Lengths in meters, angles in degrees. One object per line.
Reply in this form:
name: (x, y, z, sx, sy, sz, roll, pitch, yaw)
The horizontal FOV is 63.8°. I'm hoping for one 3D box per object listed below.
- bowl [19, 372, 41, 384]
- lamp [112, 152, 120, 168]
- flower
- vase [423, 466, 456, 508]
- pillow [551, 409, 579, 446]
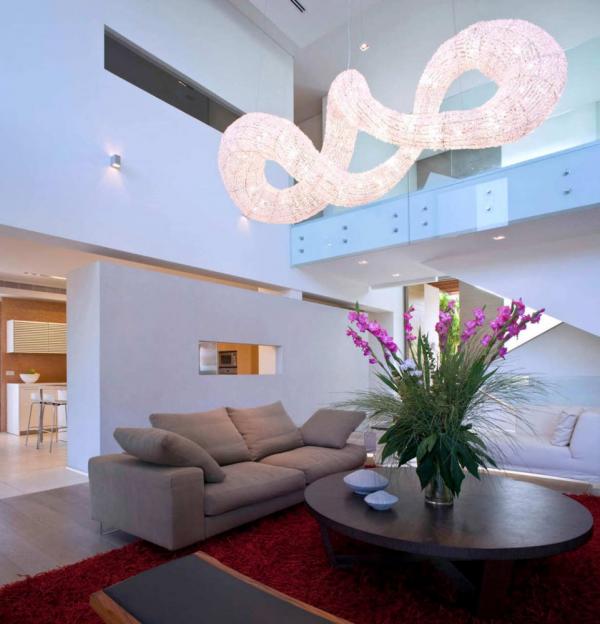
bowl: (-4.905, 1.186, 8.711, 0.318, 0.191, 0.395, 3, -7, -32)
lamp: (-1.955, -1.592, 5.090, 0.109, 0.125, 0.165, 2, -6, -21)
flower: (0.693, 0.431, 2.354, 0.838, 0.972, 0.472, -2, -6, 18)
vase: (0.748, 0.937, 2.618, 0.170, 0.292, 0.165, -6, -10, 27)
pillow: (2.676, 1.190, 4.831, 0.100, 0.377, 0.228, 12, 12, -2)
